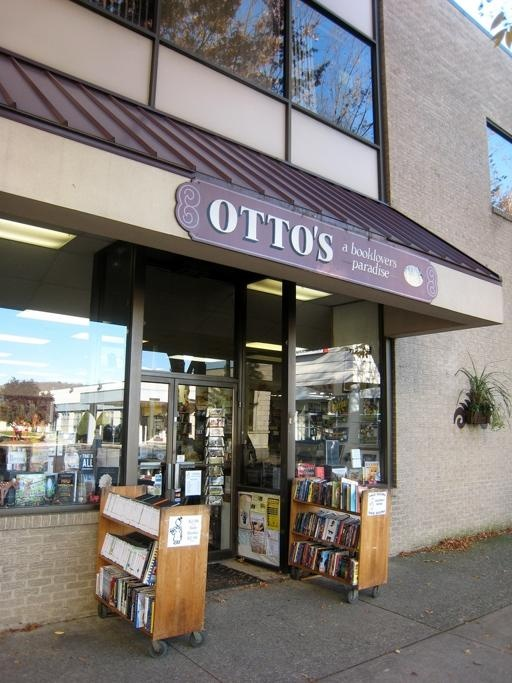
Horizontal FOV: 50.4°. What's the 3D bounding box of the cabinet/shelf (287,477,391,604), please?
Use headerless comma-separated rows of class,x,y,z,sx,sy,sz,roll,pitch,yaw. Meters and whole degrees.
cabinet/shelf,0.828,1.972,5.606,0.464,1.130,0.939,12,-10,-40

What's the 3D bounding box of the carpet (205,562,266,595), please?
carpet,-0.234,2.472,5.704,0.541,0.020,0.942,3,-9,-5

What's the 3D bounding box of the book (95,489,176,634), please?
book,-0.892,1.671,4.055,0.345,0.941,0.907,10,-14,-26

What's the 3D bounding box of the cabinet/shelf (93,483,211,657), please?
cabinet/shelf,-0.840,1.669,4.188,0.472,1.015,0.967,8,-7,-41
